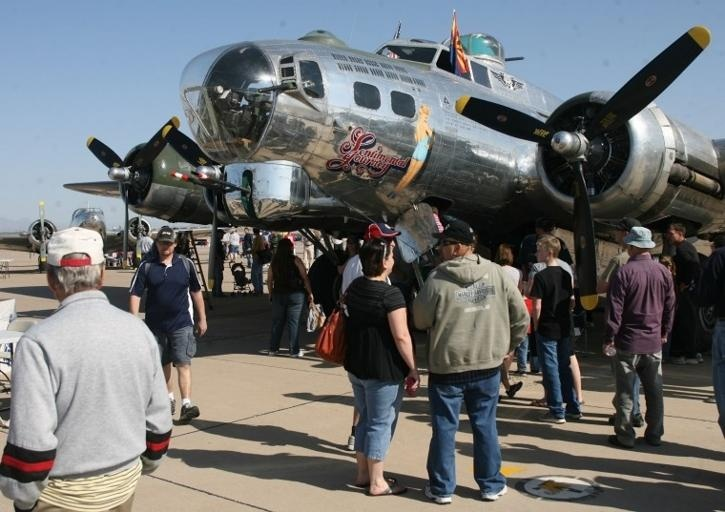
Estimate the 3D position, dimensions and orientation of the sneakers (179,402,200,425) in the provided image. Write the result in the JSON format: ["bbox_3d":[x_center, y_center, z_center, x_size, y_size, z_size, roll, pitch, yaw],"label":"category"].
[{"bbox_3d":[-1.858,1.684,7.002,0.224,0.191,0.189,-2,6,-16],"label":"sneakers"}]

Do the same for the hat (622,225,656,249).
[{"bbox_3d":[2.712,-0.192,6.438,0.218,0.133,0.260,6,8,-19],"label":"hat"}]

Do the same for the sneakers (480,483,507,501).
[{"bbox_3d":[1.091,1.964,5.436,0.090,0.108,0.249,1,4,36],"label":"sneakers"}]

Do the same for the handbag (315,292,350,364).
[{"bbox_3d":[-0.278,0.672,5.669,0.260,0.591,0.237,-1,6,-4],"label":"handbag"}]

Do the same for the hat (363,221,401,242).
[{"bbox_3d":[0.191,-0.218,6.074,0.329,0.167,0.197,-3,8,-22],"label":"hat"}]

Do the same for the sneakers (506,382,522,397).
[{"bbox_3d":[1.805,1.562,7.755,0.095,0.123,0.242,21,48,23],"label":"sneakers"}]

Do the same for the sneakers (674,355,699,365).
[{"bbox_3d":[4.586,1.494,9.289,0.381,0.155,0.130,-3,-9,22],"label":"sneakers"}]

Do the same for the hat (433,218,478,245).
[{"bbox_3d":[0.789,-0.191,5.556,0.320,0.156,0.220,11,7,16],"label":"hat"}]

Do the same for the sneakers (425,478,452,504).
[{"bbox_3d":[0.616,1.974,5.417,0.104,0.108,0.247,1,2,-5],"label":"sneakers"}]
